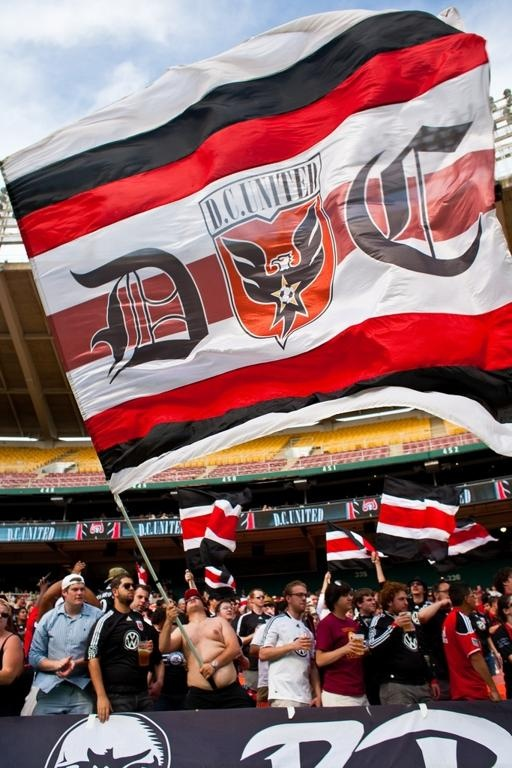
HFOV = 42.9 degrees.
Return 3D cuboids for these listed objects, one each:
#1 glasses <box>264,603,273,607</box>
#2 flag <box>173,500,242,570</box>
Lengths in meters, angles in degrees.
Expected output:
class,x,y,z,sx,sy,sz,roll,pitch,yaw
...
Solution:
class,x,y,z,sx,sy,sz,roll,pitch,yaw
glasses,0.165,2.947,8.779,0.059,0.065,0.077,3,-16,45
flag,-0.502,1.729,7.573,0.735,0.707,0.603,-16,11,-9
